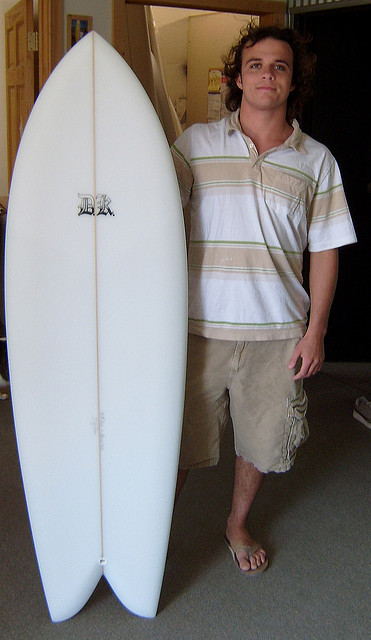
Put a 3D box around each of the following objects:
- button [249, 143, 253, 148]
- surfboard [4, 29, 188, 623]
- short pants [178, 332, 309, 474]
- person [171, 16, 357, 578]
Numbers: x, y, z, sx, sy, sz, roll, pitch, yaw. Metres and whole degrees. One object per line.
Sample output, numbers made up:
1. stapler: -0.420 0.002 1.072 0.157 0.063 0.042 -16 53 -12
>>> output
1. button: 0.157 -0.410 1.228 0.007 0.010 0.003 5 8 16
2. surfboard: -0.206 0.051 1.197 0.409 1.460 0.150 -1 4 -10
3. short pants: 0.132 0.177 1.419 0.367 0.482 0.172 2 22 1
4. person: 0.194 -0.022 1.372 0.408 1.470 0.333 -8 14 -43
